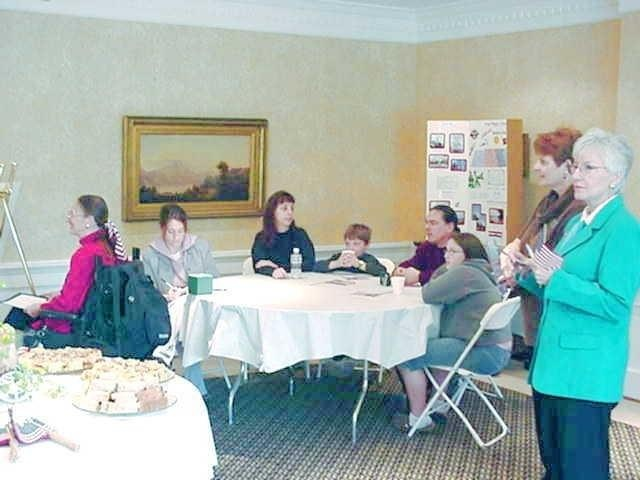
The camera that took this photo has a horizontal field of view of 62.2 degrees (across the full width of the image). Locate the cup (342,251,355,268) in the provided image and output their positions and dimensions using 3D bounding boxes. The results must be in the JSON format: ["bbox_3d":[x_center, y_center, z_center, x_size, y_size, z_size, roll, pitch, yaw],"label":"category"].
[{"bbox_3d":[0.245,0.160,4.467,0.090,0.150,0.105,2,9,10],"label":"cup"}]

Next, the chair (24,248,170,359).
[{"bbox_3d":[-1.247,0.363,3.197,0.733,0.585,0.522,-2,1,5],"label":"chair"}]

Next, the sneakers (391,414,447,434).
[{"bbox_3d":[0.690,1.231,3.706,0.346,0.157,0.144,3,1,8],"label":"sneakers"}]

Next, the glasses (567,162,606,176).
[{"bbox_3d":[1.132,-0.299,2.248,0.046,0.043,0.133,-5,10,-33],"label":"glasses"}]

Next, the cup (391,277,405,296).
[{"bbox_3d":[0.544,0.311,3.704,0.102,0.110,0.106,-1,-1,0],"label":"cup"}]

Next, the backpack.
[{"bbox_3d":[-0.941,0.380,3.013,0.332,0.489,0.167,-4,7,11],"label":"backpack"}]

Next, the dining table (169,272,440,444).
[{"bbox_3d":[-0.084,0.727,3.745,1.733,0.770,0.926,1,9,0],"label":"dining table"}]

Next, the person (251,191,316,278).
[{"bbox_3d":[-0.492,-0.071,4.705,0.580,0.875,0.691,-1,3,-23],"label":"person"}]
